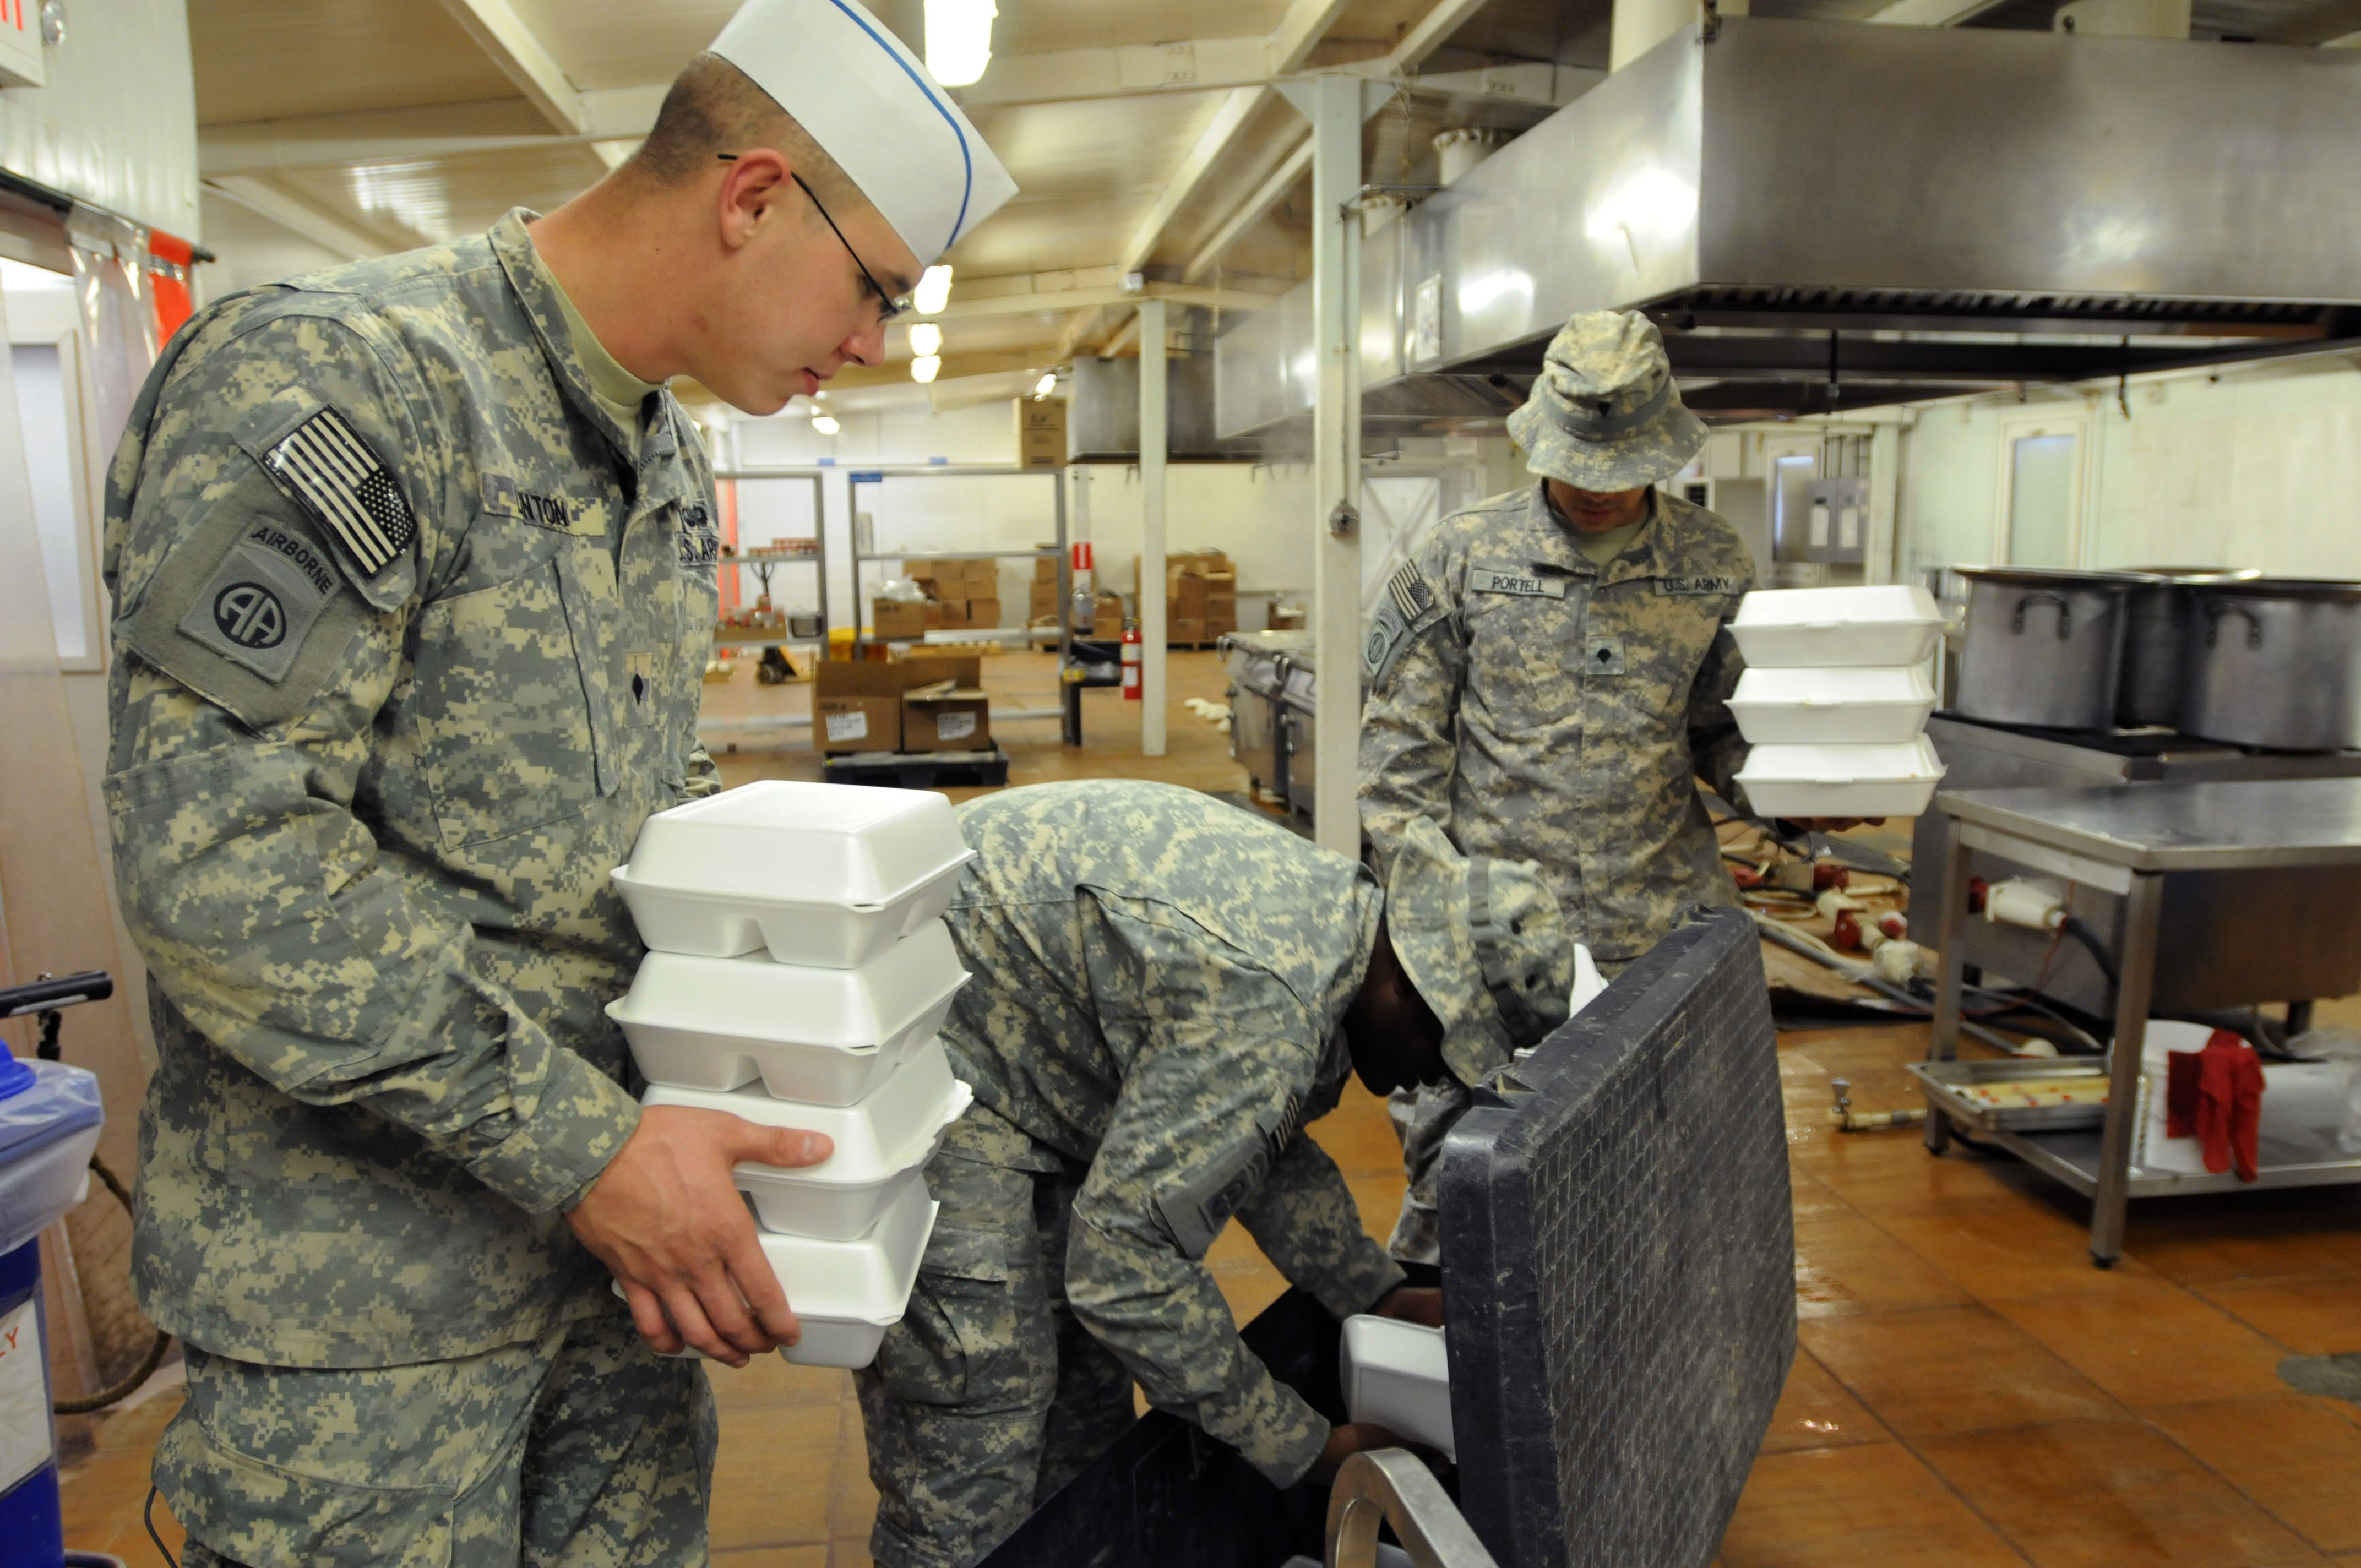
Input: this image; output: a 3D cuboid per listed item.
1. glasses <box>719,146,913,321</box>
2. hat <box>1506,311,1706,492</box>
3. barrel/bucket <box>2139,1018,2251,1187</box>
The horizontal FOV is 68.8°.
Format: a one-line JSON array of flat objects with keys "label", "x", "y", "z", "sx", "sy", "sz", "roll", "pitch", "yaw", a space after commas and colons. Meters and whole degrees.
[{"label": "glasses", "x": -0.407, "y": -0.636, "z": 2.046, "sx": 0.055, "sy": 0.198, "sz": 0.153, "roll": -46, "pitch": 17, "yaw": -16}, {"label": "hat", "x": 0.810, "y": -0.771, "z": 3.397, "sx": 0.264, "sy": 0.363, "sz": 0.341, "roll": -6, "pitch": 8, "yaw": -34}, {"label": "barrel/bucket", "x": 2.262, "y": 0.694, "z": 3.829, "sx": 0.225, "sy": 0.307, "sz": 0.245, "roll": -1, "pitch": 7, "yaw": 0}]
